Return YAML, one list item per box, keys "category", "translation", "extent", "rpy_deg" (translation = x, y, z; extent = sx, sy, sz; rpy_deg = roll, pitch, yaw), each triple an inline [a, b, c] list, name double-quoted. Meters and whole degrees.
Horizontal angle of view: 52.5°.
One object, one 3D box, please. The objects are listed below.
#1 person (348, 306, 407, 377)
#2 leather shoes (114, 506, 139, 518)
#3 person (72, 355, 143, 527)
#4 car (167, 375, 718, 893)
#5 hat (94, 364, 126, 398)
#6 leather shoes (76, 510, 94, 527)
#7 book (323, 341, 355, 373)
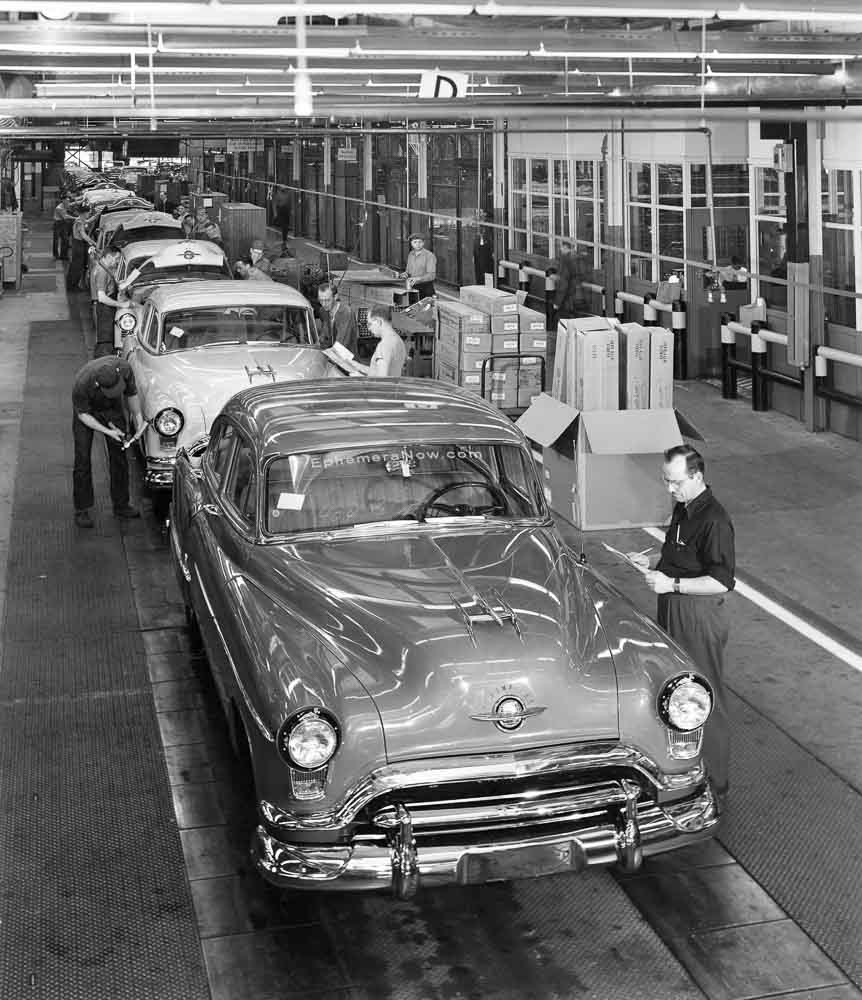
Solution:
- category: "person"
  translation: [-0.600, -1.885, 10.311]
  extent: [0.415, 0.819, 0.698]
  rpy_deg: [2, 5, 31]
- category: "leather shoes"
  translation: [-3.352, 0.112, 9.679]
  extent: [0.238, 0.113, 0.118]
  rpy_deg: [2, 11, -3]
- category: "person"
  translation: [-3.538, -0.674, 9.566]
  extent: [0.694, 1.826, 1.373]
  rpy_deg: [-2, 5, -23]
- category: "car"
  translation: [-0.378, 0.188, 4.919]
  extent: [1.768, 1.516, 4.482]
  rpy_deg: [-1, 16, -19]
- category: "hat"
  translation: [-3.299, -1.228, 9.101]
  extent: [0.236, 0.370, 0.351]
  rpy_deg: [-10, -10, -15]
- category: "leather shoes"
  translation: [-3.709, 0.185, 9.420]
  extent: [0.107, 0.130, 0.291]
  rpy_deg: [-1, 6, -18]
- category: "book"
  translation: [-1.041, -1.670, 10.270]
  extent: [0.350, 0.094, 0.347]
  rpy_deg: [46, 25, 6]
